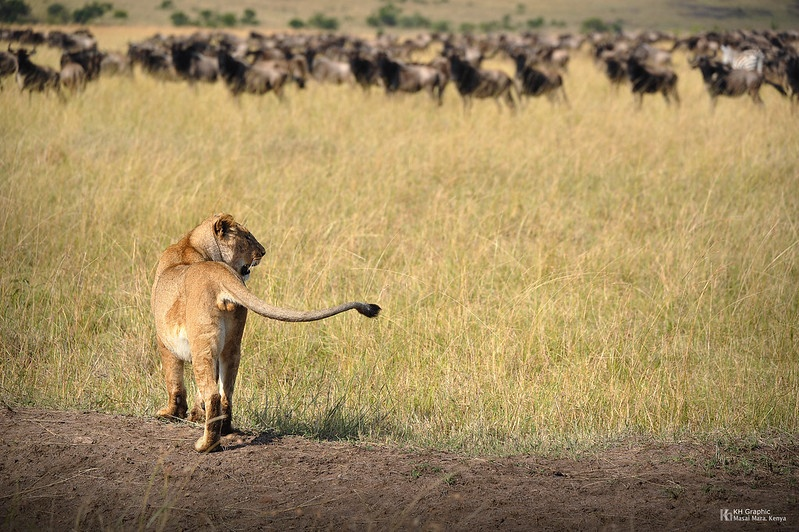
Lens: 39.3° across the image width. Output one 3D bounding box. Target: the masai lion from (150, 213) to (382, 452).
[{"bbox_3d":[-2.546,0.966,16.190,2.239,3.237,0.804,2,-1,19],"label":"masai lion"}]
